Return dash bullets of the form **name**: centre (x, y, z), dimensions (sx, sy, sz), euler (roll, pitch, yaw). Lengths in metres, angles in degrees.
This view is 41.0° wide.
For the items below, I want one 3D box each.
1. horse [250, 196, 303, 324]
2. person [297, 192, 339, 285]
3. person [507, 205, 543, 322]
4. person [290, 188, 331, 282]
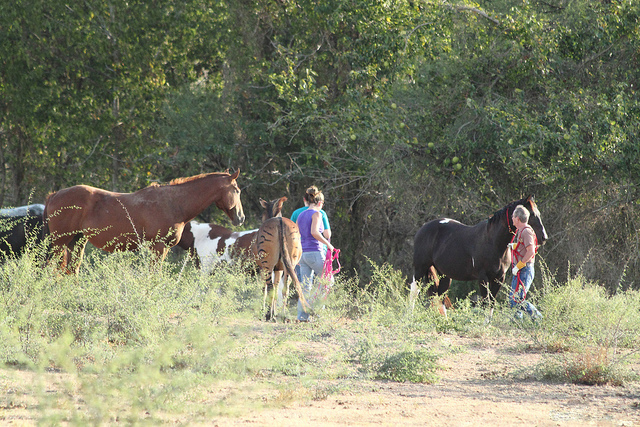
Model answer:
- **horse**: centre (-0.961, 1.000, 19.582), dimensions (1.021, 2.856, 1.851), euler (3, -7, -16)
- **person**: centre (-0.145, 0.538, 19.694), dimensions (0.793, 2.001, 0.682), euler (1, -7, 0)
- **person**: centre (4.546, 1.091, 19.192), dimensions (0.675, 2.595, 0.734), euler (0, -7, 4)
- **person**: centre (-0.254, 0.395, 19.429), dimensions (0.350, 1.277, 1.605), euler (-14, 17, 49)
